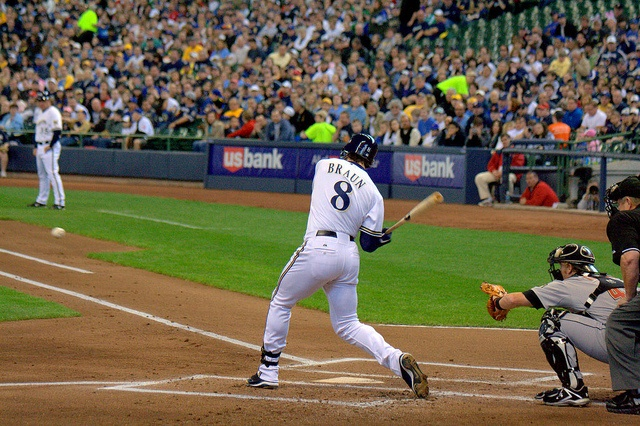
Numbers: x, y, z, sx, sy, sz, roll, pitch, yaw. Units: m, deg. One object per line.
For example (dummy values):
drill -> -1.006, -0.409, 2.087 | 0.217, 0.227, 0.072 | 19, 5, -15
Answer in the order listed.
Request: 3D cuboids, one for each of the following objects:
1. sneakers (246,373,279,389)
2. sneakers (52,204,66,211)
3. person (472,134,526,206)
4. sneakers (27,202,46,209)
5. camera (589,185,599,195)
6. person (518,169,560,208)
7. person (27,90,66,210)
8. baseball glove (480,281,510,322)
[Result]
sneakers -> -1.055, 3.148, 20.198 | 0.579, 0.235, 0.238 | 3, -4, 1
sneakers -> -6.970, -0.115, 28.879 | 0.323, 0.113, 0.107 | 10, 1, -2
person -> 5.202, -1.177, 31.143 | 1.363, 2.059, 0.354 | 5, 7, 39
sneakers -> -7.639, -0.166, 29.264 | 0.544, 0.190, 0.169 | 5, -1, 8
camera -> 7.531, -0.594, 29.656 | 0.279, 0.220, 0.230 | 1, -2, -29
person -> 6.136, -0.640, 30.134 | 1.079, 0.957, 0.598 | 2, 5, 18
person -> -7.269, -1.613, 28.880 | 0.821, 3.103, 0.825 | -1, 6, -16
baseball glove -> 3.276, 1.679, 20.367 | 0.532, 0.672, 0.322 | -19, -4, -45
